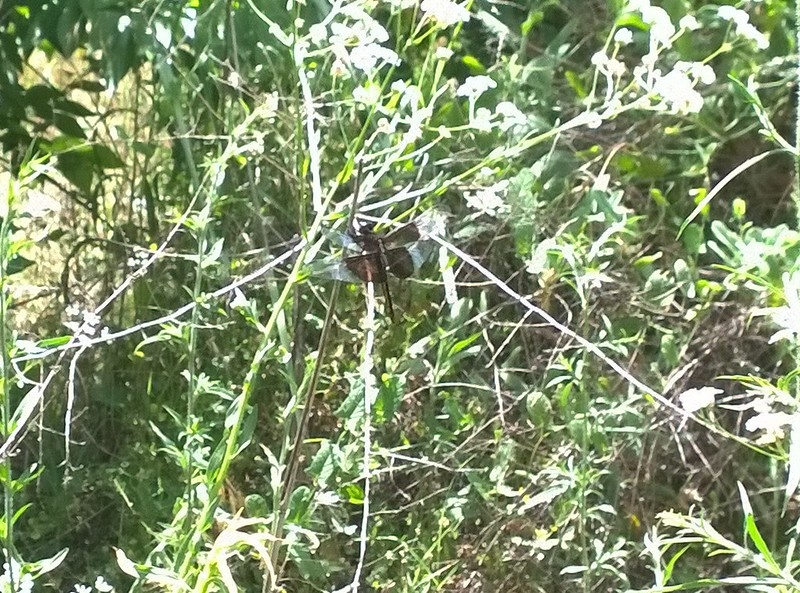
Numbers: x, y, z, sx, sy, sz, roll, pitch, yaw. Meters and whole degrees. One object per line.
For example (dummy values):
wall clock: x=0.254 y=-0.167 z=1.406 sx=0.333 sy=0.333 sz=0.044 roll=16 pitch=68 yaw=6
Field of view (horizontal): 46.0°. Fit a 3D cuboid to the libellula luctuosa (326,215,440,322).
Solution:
libellula luctuosa: x=-0.015 y=-0.046 z=1.333 sx=0.111 sy=0.101 sz=0.056 roll=-22 pitch=3 yaw=-23
